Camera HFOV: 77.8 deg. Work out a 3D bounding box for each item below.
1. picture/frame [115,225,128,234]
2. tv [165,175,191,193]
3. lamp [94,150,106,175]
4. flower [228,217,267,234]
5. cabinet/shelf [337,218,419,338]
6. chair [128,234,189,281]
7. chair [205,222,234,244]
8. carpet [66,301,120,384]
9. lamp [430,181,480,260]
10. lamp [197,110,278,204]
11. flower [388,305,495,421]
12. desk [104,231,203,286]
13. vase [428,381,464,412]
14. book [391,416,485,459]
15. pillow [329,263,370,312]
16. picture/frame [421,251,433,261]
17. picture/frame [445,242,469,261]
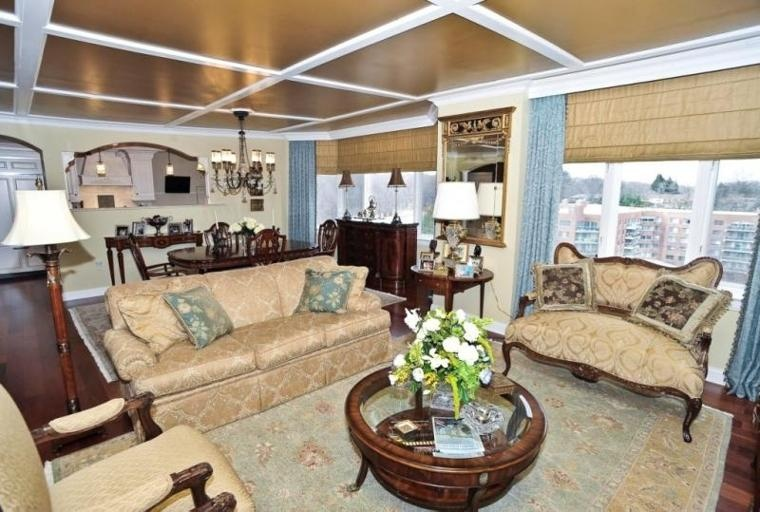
[{"bbox_3d":[-4.285,-0.442,7.824,0.178,0.192,0.015,-4,1,-33],"label":"picture/frame"},{"bbox_3d":[-4.613,-1.658,10.703,0.419,0.331,0.056,-3,9,-24],"label":"tv"},{"bbox_3d":[-5.696,-1.912,9.644,0.196,0.513,1.265,-6,10,-30],"label":"lamp"},{"bbox_3d":[-2.111,-0.490,7.401,0.581,0.254,0.560,2,1,7],"label":"flower"},{"bbox_3d":[0.037,0.297,6.862,1.697,1.530,0.667,6,9,43],"label":"cabinet/shelf"},{"bbox_3d":[-3.437,0.005,7.265,0.548,0.835,0.498,-12,26,-30],"label":"chair"},{"bbox_3d":[-2.605,-0.369,7.663,0.373,0.475,0.349,-9,20,-37],"label":"chair"},{"bbox_3d":[-3.296,1.019,5.421,0.285,0.024,1.042,6,22,-43],"label":"carpet"},{"bbox_3d":[0.890,-0.426,5.689,0.501,0.969,0.776,0,9,6],"label":"lamp"},{"bbox_3d":[-2.427,-1.699,8.309,0.967,1.269,1.002,3,9,22],"label":"lamp"},{"bbox_3d":[0.558,0.779,4.066,0.873,0.907,0.889,-4,17,-22],"label":"flower"},{"bbox_3d":[-3.492,0.025,7.136,0.886,0.723,0.366,-7,11,-41],"label":"desk"},{"bbox_3d":[0.538,1.164,3.836,0.247,0.176,0.249,4,6,39],"label":"vase"},{"bbox_3d":[0.484,1.405,3.628,0.345,0.060,0.348,-2,15,-10],"label":"book"},{"bbox_3d":[-0.324,0.356,5.447,0.472,0.450,0.200,9,-11,15],"label":"pillow"},{"bbox_3d":[0.585,-0.008,5.923,0.154,0.097,0.082,1,1,10],"label":"picture/frame"},{"bbox_3d":[0.974,-0.060,6.006,0.237,0.168,0.031,8,22,28],"label":"picture/frame"}]
